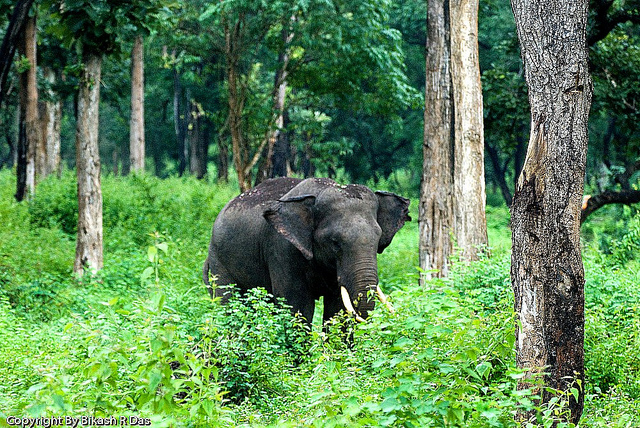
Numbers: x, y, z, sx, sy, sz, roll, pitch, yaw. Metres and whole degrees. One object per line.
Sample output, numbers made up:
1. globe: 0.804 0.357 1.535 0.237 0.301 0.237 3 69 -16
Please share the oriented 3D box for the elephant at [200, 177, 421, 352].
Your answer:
1. elephant: -0.198 0.887 15.363 3.174 2.862 6.588 0 0 -15
